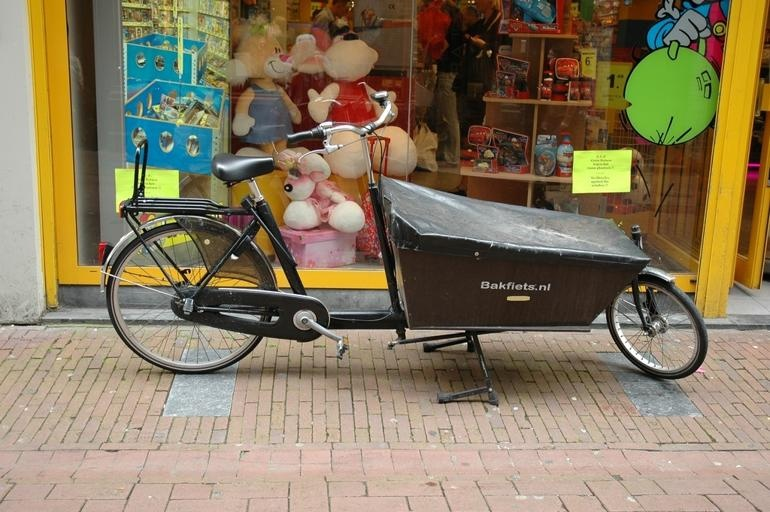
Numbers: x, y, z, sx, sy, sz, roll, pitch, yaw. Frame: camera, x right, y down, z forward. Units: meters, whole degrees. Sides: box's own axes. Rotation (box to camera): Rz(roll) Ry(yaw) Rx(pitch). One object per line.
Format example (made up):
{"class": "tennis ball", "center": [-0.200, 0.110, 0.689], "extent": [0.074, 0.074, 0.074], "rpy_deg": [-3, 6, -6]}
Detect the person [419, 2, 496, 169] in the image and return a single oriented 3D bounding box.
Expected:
{"class": "person", "center": [0.760, -1.715, 6.492], "extent": [0.430, 1.352, 0.569], "rpy_deg": [-5, 25, -16]}

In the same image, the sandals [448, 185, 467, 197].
{"class": "sandals", "center": [0.752, -0.660, 6.700], "extent": [0.179, 0.186, 0.145], "rpy_deg": [3, 3, -1]}

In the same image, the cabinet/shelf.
{"class": "cabinet/shelf", "center": [1.503, -1.493, 6.752], "extent": [1.225, 1.884, 0.997], "rpy_deg": [-3, 26, -2]}
